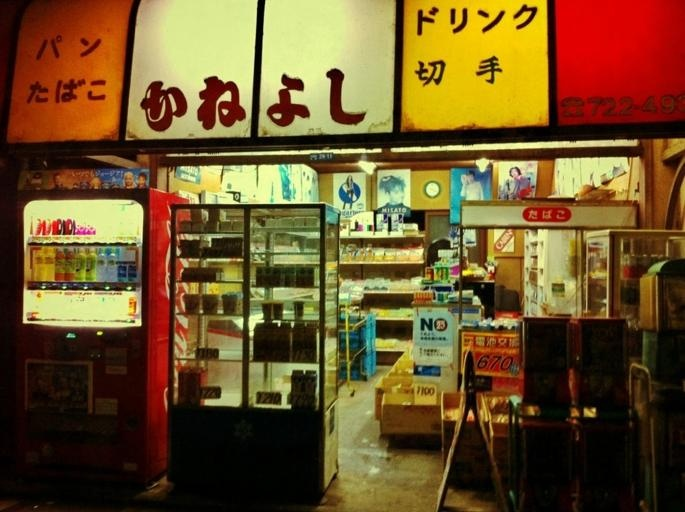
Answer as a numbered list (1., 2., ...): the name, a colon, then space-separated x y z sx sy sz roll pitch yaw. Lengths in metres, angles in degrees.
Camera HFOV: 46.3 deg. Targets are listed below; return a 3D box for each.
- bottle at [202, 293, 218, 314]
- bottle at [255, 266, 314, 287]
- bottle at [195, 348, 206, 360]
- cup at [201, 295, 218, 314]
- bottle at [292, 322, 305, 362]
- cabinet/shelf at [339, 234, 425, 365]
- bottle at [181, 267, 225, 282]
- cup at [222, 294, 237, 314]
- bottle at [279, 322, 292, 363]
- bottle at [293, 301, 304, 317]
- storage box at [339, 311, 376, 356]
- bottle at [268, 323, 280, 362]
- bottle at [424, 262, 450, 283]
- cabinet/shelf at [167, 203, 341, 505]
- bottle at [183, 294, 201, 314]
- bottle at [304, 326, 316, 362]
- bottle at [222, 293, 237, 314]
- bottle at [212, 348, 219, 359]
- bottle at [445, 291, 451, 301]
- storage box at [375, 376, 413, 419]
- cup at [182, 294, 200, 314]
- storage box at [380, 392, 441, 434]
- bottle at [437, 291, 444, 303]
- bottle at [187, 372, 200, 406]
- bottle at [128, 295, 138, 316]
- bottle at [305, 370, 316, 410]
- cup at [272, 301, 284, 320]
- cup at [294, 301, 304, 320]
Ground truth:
1. bottle: -1.309 0.472 7.914 0.163 0.187 0.168 1 -1 -17
2. bottle: -0.565 0.192 7.832 0.592 0.223 0.222 0 -1 -4
3. bottle: -1.386 0.957 7.864 0.101 0.112 0.077 1 1 9
4. cup: -1.309 0.471 7.914 0.160 0.182 0.164 1 -1 0
5. bottle: -0.436 0.833 7.764 0.108 0.361 0.119 0 -1 0
6. cabinet/shelf: 0.644 0.711 12.580 1.910 2.008 0.705 0 -2 9
7. bottle: -1.395 0.182 7.917 0.230 0.116 0.178 0 -2 8
8. cup: -1.106 0.475 7.979 0.159 0.226 0.182 0 0 0
9. bottle: -0.553 0.833 7.754 0.124 0.363 0.094 0 -2 -4
10. bottle: -0.429 0.523 7.871 0.120 0.196 0.113 2 -1 0
11. storage box: 0.431 1.135 11.960 0.772 0.572 0.429 -8 -4 2
12. bottle: -0.655 0.836 7.750 0.098 0.360 0.059 0 -2 -2
13. bottle: 1.315 0.232 11.137 0.301 0.319 0.176 3 6 30
14. cabinet/shelf: -0.952 0.861 8.212 1.530 2.754 0.815 1 9 -5
15. bottle: -1.483 0.473 7.915 0.160 0.187 0.160 2 -3 -10
16. bottle: -0.331 0.855 7.715 0.174 0.341 0.045 0 -2 -4
17. bottle: -1.104 0.467 7.971 0.155 0.213 0.178 0 0 1
18. bottle: -1.242 0.954 7.839 0.069 0.138 0.072 0 1 0
19. bottle: 1.242 0.476 9.460 0.041 0.101 0.072 0 -1 13
20. storage box: 0.567 1.617 9.336 0.420 0.287 0.438 0 3 4
21. cup: -1.490 0.473 7.914 0.159 0.184 0.164 1 -3 0
22. storage box: 0.749 1.798 8.901 0.660 0.501 0.455 0 -1 5
23. bottle: 1.155 0.484 9.464 0.098 0.153 0.104 -1 1 0
24. bottle: -1.409 1.285 7.767 0.104 0.321 0.043 1 -2 -41
25. bottle: -2.049 0.486 7.850 0.112 0.231 0.033 -1 -2 26
26. bottle: -0.302 1.297 7.665 0.111 0.321 0.075 0 -2 -10
27. cup: -0.634 0.536 7.853 0.129 0.243 0.136 0 -1 0
28. cup: -0.433 0.539 7.760 0.133 0.239 0.141 2 -3 0
